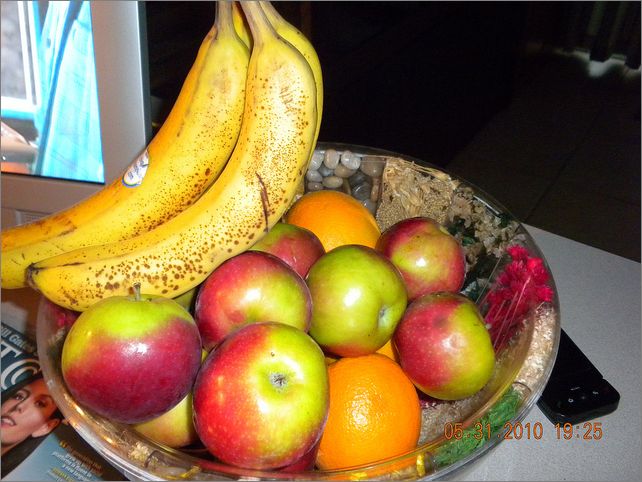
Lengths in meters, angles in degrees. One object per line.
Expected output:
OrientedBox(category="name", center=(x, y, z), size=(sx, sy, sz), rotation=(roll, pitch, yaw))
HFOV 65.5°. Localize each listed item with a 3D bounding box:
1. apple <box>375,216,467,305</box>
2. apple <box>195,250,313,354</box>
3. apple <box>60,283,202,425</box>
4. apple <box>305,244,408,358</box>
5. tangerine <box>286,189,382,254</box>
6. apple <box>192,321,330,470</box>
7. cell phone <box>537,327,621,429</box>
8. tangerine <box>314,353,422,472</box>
OrientedBox(category="apple", center=(0.171, 0.062, 0.839), size=(0.135, 0.145, 0.172), rotation=(4, 72, 18))
OrientedBox(category="apple", center=(-0.108, 0.075, 0.724), size=(0.119, 0.127, 0.114), rotation=(-11, 10, -37))
OrientedBox(category="apple", center=(-0.256, 0.153, 0.692), size=(0.179, 0.179, 0.175), rotation=(3, 10, -31))
OrientedBox(category="apple", center=(0.054, 0.099, 0.792), size=(0.170, 0.173, 0.194), rotation=(-1, 92, -38))
OrientedBox(category="tangerine", center=(0.054, -0.038, 0.884), size=(0.118, 0.127, 0.109), rotation=(-9, 92, -12))
OrientedBox(category="apple", center=(-0.080, 0.216, 0.676), size=(0.170, 0.175, 0.168), rotation=(-9, 59, -23))
OrientedBox(category="cell phone", center=(0.454, 0.257, 0.938), size=(0.120, 0.040, 0.217), rotation=(-18, 20, 8))
OrientedBox(category="tangerine", center=(0.061, 0.250, 0.760), size=(0.144, 0.143, 0.164), rotation=(1, 76, -5))
